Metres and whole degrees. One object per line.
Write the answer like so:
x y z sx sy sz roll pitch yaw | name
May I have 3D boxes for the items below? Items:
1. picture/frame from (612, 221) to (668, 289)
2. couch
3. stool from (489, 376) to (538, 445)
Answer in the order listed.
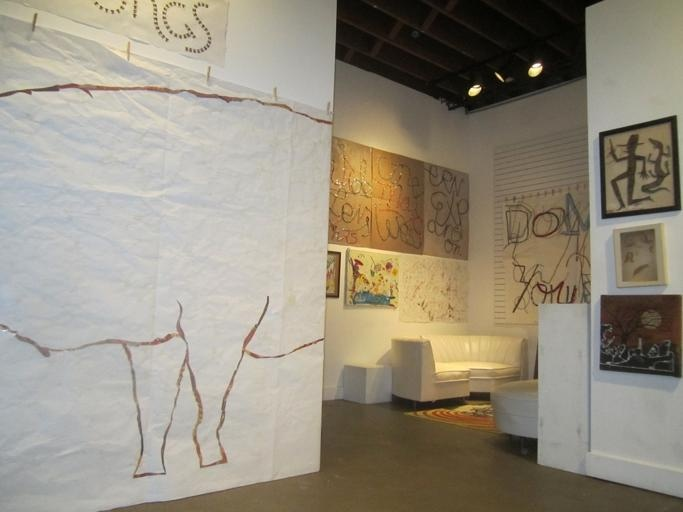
2.206 -0.008 3.735 0.047 0.331 0.449 7 -12 -40 | picture/frame
1.502 1.440 6.643 1.780 0.812 0.831 4 -4 -33 | couch
1.589 1.335 4.520 0.461 0.340 0.497 -6 -7 43 | stool
